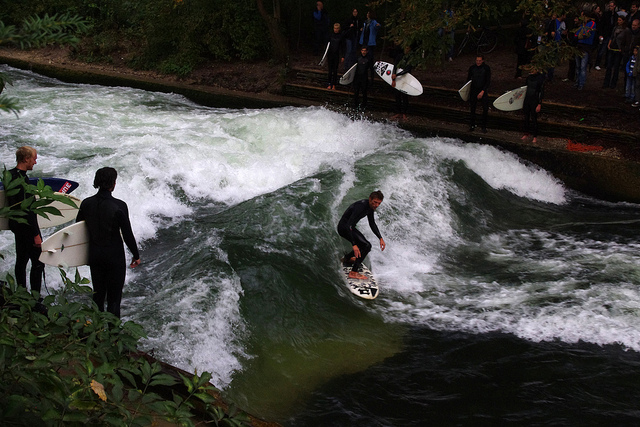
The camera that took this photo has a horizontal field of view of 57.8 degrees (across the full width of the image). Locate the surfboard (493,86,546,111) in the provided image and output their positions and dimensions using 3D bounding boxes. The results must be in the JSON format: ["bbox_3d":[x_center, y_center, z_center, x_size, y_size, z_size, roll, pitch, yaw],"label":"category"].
[{"bbox_3d":[5.597,-3.258,16.480,0.152,0.508,1.604,-20,1,-26],"label":"surfboard"}]

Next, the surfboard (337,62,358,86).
[{"bbox_3d":[0.936,-4.610,19.392,0.726,0.285,2.179,31,3,3],"label":"surfboard"}]

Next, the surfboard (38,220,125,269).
[{"bbox_3d":[-3.780,0.445,8.586,0.740,0.775,0.258,13,13,13],"label":"surfboard"}]

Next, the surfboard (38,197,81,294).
[{"bbox_3d":[-3.830,0.481,8.515,0.498,1.688,0.212,6,7,20],"label":"surfboard"}]

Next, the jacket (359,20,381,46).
[{"bbox_3d":[1.708,-6.137,19.875,0.314,0.857,0.807,-1,17,-39],"label":"jacket"}]

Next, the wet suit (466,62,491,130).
[{"bbox_3d":[4.496,-3.427,16.553,0.749,2.183,0.768,-23,28,-39],"label":"wet suit"}]

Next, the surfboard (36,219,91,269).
[{"bbox_3d":[-3.764,0.453,8.585,0.745,0.795,0.250,13,13,12],"label":"surfboard"}]

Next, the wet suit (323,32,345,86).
[{"bbox_3d":[0.481,-5.319,19.837,0.821,2.036,0.611,7,20,9],"label":"wet suit"}]

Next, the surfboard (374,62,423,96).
[{"bbox_3d":[2.441,-4.157,18.021,0.481,0.829,1.714,-2,17,-41],"label":"surfboard"}]

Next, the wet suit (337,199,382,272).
[{"bbox_3d":[0.767,0.415,11.481,0.861,1.490,0.622,9,13,-4],"label":"wet suit"}]

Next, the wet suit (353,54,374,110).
[{"bbox_3d":[1.291,-4.229,18.354,0.832,1.997,0.561,1,28,-3],"label":"wet suit"}]

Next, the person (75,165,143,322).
[{"bbox_3d":[-3.182,0.421,8.703,0.839,2.157,0.459,14,14,17],"label":"person"}]
